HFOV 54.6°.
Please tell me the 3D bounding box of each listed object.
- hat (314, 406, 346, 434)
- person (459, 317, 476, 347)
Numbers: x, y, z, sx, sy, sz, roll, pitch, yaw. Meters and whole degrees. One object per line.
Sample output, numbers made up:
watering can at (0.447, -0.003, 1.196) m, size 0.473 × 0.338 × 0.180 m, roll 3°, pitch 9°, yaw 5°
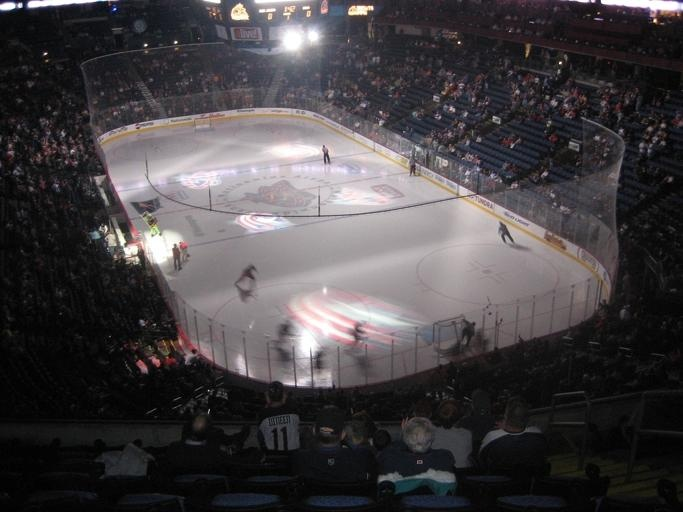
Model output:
hat at (-0.200, 2.565, 10.572) m, size 0.486 × 0.648 × 0.362 m, roll -1°, pitch 24°, yaw -4°
person at (4.237, 2.523, 22.185) m, size 0.494 × 1.056 × 0.845 m, roll 3°, pitch 11°, yaw 11°
